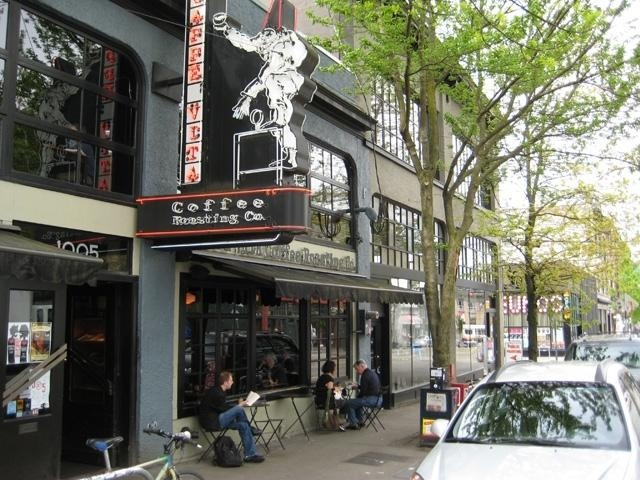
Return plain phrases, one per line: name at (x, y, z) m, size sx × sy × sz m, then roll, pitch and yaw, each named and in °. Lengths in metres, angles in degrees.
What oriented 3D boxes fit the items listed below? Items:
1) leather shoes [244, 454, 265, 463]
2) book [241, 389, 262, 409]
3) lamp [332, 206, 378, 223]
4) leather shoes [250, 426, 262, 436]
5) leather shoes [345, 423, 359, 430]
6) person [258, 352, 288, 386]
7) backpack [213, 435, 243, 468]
leather shoes at (-1.261, 4.140, 11.777) m, size 0.354 × 0.169 × 0.150 m, roll 0°, pitch -16°, yaw -2°
book at (-1.420, 3.175, 12.239) m, size 0.294 × 0.113 × 0.297 m, roll -25°, pitch 9°, yaw 38°
lamp at (0.875, -0.728, 17.322) m, size 0.698 × 0.320 × 0.702 m, roll -4°, pitch -1°, yaw 42°
leather shoes at (-1.296, 3.900, 12.697) m, size 0.271 × 0.274 × 0.207 m, roll 0°, pitch -6°, yaw 5°
leather shoes at (0.767, 4.550, 15.125) m, size 0.342 × 0.159 × 0.120 m, roll 2°, pitch -5°, yaw 27°
person at (-1.136, 3.013, 14.422) m, size 0.683 × 0.729 × 0.702 m, roll 0°, pitch -11°, yaw -20°
backpack at (-1.709, 3.930, 11.532) m, size 0.534 × 0.541 × 0.318 m, roll 2°, pitch -11°, yaw -12°
